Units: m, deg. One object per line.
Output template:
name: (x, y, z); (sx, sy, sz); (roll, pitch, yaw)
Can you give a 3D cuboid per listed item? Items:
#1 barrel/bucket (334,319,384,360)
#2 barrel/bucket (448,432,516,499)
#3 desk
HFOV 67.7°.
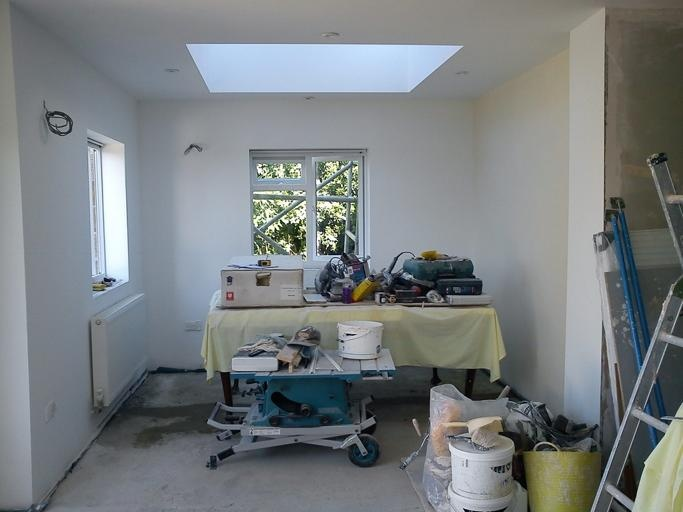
barrel/bucket: (0.142, 0.658, 3.963); (0.288, 0.186, 0.293); (0, 4, 0)
barrel/bucket: (0.857, 1.288, 3.110); (0.343, 0.256, 0.353); (-1, 0, 0)
desk: (0.176, 0.769, 4.525); (2.502, 0.606, 0.335); (-1, 9, -2)
